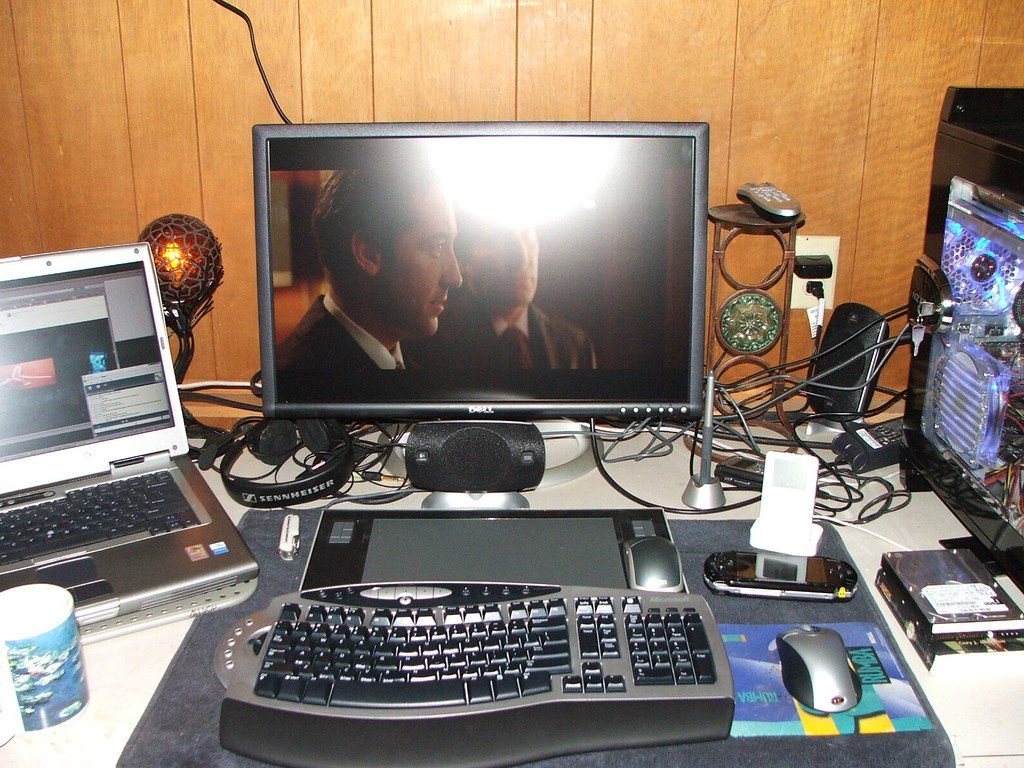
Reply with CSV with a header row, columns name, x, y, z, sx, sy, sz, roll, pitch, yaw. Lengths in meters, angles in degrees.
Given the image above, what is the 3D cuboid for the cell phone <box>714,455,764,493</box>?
name,x,y,z,sx,sy,sz,roll,pitch,yaw
cell phone,0.380,0.143,1.307,0.053,0.014,0.063,-12,23,-26

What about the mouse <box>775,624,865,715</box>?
name,x,y,z,sx,sy,sz,roll,pitch,yaw
mouse,0.361,0.329,0.919,0.086,0.070,0.071,-3,19,3

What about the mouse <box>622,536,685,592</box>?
name,x,y,z,sx,sy,sz,roll,pitch,yaw
mouse,0.192,0.238,1.081,0.080,0.038,0.115,0,19,-9

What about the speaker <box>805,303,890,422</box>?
name,x,y,z,sx,sy,sz,roll,pitch,yaw
speaker,0.625,-0.028,1.433,0.059,0.244,0.141,-6,23,-37

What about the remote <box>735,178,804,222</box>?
name,x,y,z,sx,sy,sz,roll,pitch,yaw
remote,0.414,-0.311,1.272,0.058,0.027,0.114,-3,36,-4
